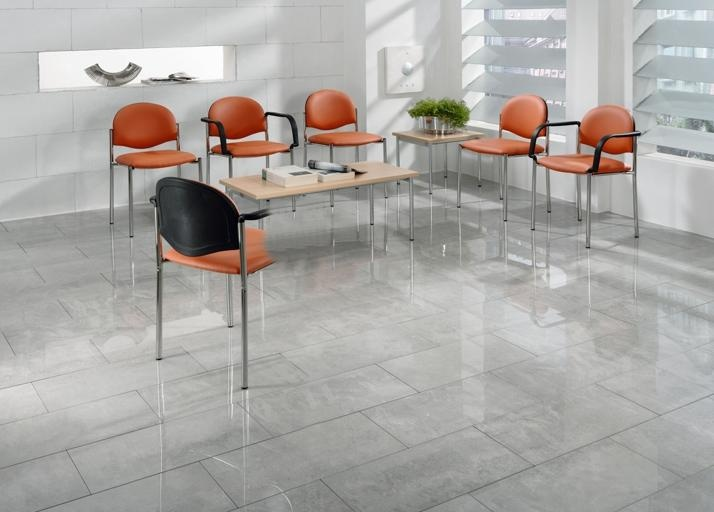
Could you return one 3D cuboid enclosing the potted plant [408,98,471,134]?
[{"bbox_3d":[0.835,-1.450,5.758,0.531,0.247,0.490,-8,14,-39],"label":"potted plant"}]

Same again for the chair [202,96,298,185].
[{"bbox_3d":[-1.078,-1.092,5.684,0.909,0.841,0.712,-9,32,-22],"label":"chair"}]

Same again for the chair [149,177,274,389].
[{"bbox_3d":[-0.768,0.082,2.924,0.689,1.016,0.816,-10,20,-18],"label":"chair"}]

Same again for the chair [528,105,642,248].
[{"bbox_3d":[1.954,-0.750,4.818,0.849,0.933,0.817,-5,23,1],"label":"chair"}]
